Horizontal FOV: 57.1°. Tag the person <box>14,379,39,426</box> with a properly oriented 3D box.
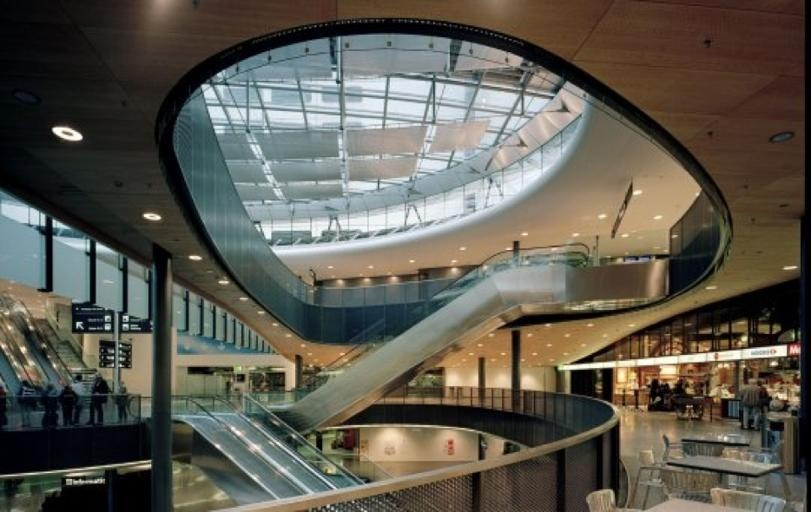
[{"bbox_3d":[-9.744,3.798,19.163,0.481,1.199,0.544,2,-11,-27],"label":"person"}]

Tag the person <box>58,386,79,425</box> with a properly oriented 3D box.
[{"bbox_3d":[-8.900,3.987,19.631,0.467,0.925,0.318,5,-12,-38],"label":"person"}]

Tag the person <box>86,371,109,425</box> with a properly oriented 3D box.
[{"bbox_3d":[-8.575,4.031,20.819,0.470,1.278,1.829,1,-11,-23],"label":"person"}]

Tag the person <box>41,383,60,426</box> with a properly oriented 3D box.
[{"bbox_3d":[-9.356,3.927,19.629,0.379,1.145,0.898,2,-11,-25],"label":"person"}]
